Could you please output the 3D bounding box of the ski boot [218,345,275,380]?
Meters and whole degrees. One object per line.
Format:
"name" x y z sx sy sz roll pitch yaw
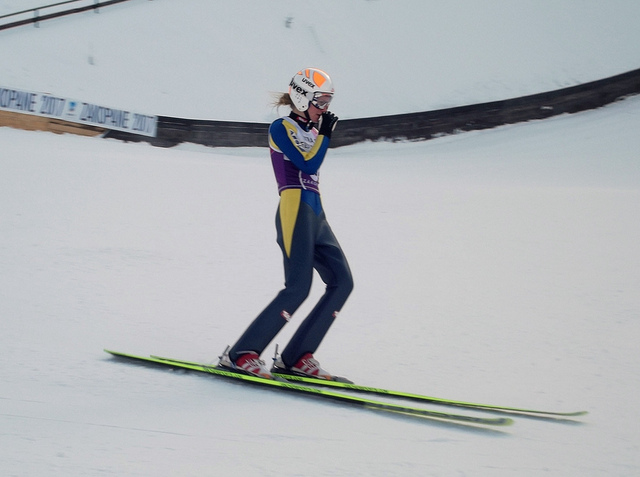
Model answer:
"ski boot" -0.499 0.874 5.312 0.418 0.200 0.133 9 -18 0
